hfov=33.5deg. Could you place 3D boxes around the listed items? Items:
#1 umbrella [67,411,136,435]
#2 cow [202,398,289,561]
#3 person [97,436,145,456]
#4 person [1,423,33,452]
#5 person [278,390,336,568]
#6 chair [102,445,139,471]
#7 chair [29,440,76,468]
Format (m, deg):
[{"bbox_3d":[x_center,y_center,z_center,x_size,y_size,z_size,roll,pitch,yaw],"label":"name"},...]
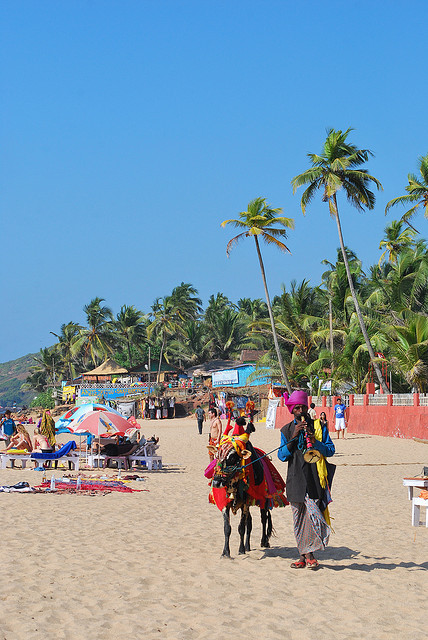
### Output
[{"bbox_3d":[-2.747,2.469,16.923,1.066,0.354,1.046,4,-3,-36],"label":"umbrella"},{"bbox_3d":[0.343,1.816,8.108,0.700,1.648,1.718,-2,-9,22],"label":"cow"},{"bbox_3d":[-2.380,3.288,18.269,0.798,0.343,0.642,3,-1,20],"label":"person"},{"bbox_3d":[-4.728,2.876,17.272,0.486,0.667,0.844,0,-5,-35],"label":"person"},{"bbox_3d":[0.956,1.651,7.287,0.550,1.837,0.624,-4,-4,11],"label":"person"},{"bbox_3d":[-2.447,3.581,18.303,0.931,0.731,0.562,-1,-4,31],"label":"chair"},{"bbox_3d":[-3.738,3.019,15.828,1.112,0.720,0.696,2,-6,1],"label":"chair"}]
